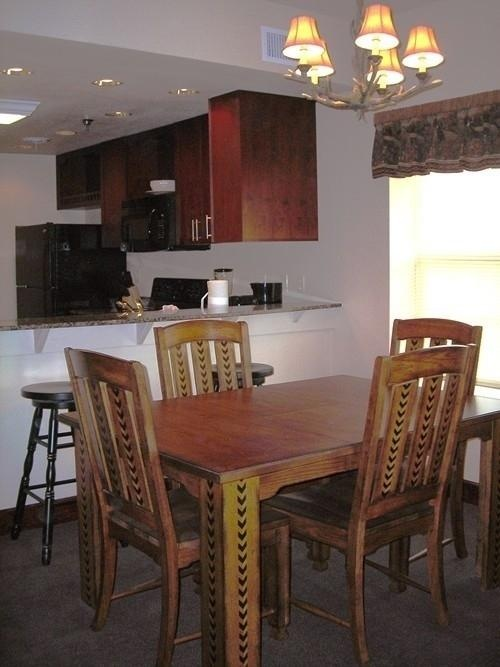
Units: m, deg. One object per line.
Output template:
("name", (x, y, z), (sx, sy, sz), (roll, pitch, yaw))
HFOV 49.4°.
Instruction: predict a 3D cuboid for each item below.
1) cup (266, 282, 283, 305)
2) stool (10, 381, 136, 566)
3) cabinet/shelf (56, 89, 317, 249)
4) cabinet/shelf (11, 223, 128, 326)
("cup", (0.173, -0.273, 3.726), (0.142, 0.155, 0.136), (0, 9, 0))
("stool", (-0.826, 0.571, 2.374), (0.402, 0.644, 0.400), (-1, -2, -25))
("cabinet/shelf", (-0.545, -1.235, 4.537), (0.652, 1.052, 2.519), (-10, 12, -35))
("cabinet/shelf", (-1.752, -0.594, 5.546), (0.805, 1.144, 0.667), (-7, 20, -41))
